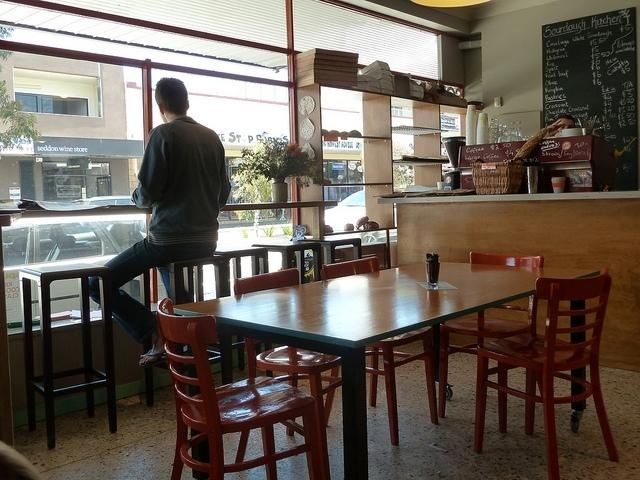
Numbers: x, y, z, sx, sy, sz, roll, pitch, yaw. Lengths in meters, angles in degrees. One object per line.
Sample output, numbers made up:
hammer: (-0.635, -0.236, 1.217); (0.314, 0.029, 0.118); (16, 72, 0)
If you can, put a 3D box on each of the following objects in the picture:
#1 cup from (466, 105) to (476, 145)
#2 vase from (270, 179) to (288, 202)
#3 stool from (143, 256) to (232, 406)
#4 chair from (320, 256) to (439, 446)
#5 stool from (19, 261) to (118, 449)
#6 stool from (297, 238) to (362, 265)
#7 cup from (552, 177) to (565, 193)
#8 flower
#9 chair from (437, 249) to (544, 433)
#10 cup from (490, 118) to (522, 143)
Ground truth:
cup: (1.428, -1.028, 4.936); (0.108, 0.373, 0.217); (-3, 7, 16)
vase: (-0.380, -0.415, 4.883); (0.148, 0.197, 0.159); (-5, 7, -5)
stool: (-0.908, 0.379, 3.628); (0.385, 0.537, 0.371); (0, 12, 20)
chair: (0.331, 0.623, 3.374); (0.639, 1.124, 0.710); (-4, 16, -36)
stool: (-1.658, 0.699, 3.429); (0.591, 1.036, 0.706); (-8, 8, -26)
stool: (0.086, 0.092, 4.698); (0.330, 0.311, 0.336); (0, 2, 41)
cup: (1.902, -0.402, 4.170); (0.118, 0.118, 0.115); (0, 7, 0)
flower: (-0.434, -0.754, 5.026); (0.642, 0.365, 0.667); (-8, -10, -4)
chair: (1.153, 0.674, 3.386); (0.698, 0.982, 0.618); (16, 1, 12)
cup: (1.641, -0.922, 4.707); (0.351, 0.212, 0.269); (2, 9, 43)
